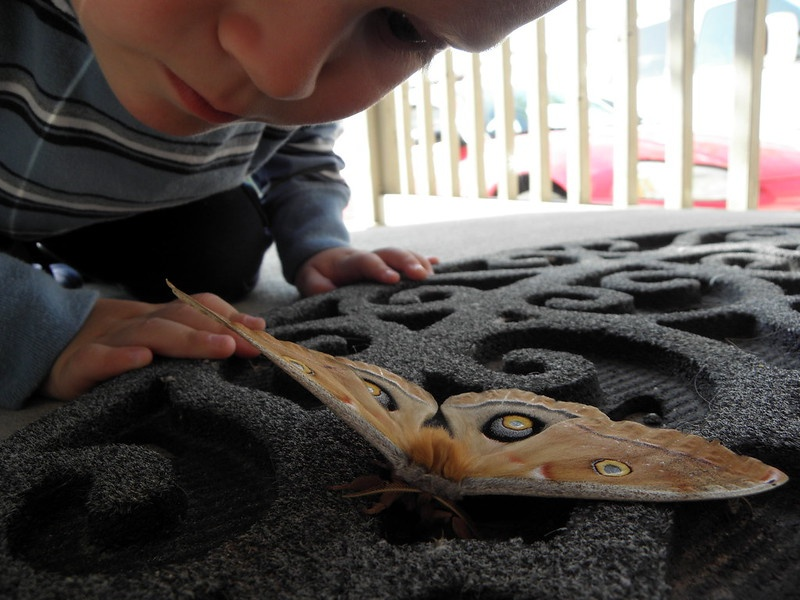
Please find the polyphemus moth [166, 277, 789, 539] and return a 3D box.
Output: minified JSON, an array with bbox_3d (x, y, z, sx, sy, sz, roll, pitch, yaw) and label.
[{"bbox_3d":[0.065,0.084,0.632,0.545,0.206,0.218,-1,8,6],"label":"polyphemus moth"}]
